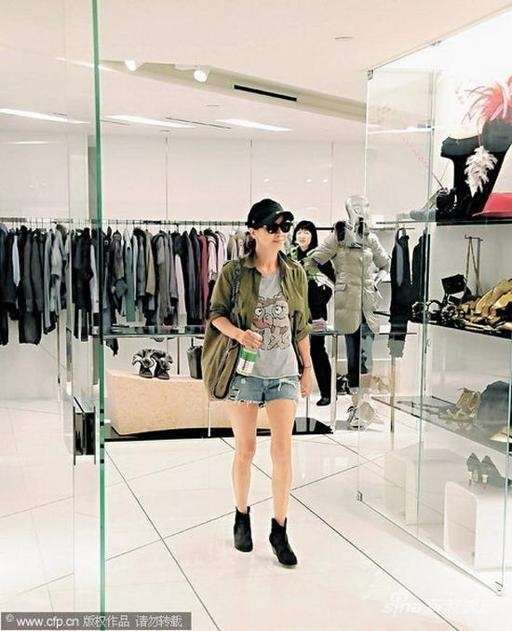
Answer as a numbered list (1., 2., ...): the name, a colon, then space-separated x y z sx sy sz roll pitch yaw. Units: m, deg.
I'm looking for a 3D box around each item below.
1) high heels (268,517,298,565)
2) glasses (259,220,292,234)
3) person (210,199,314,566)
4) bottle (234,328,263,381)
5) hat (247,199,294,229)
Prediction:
1. high heels: 0.090 0.948 2.207 0.069 0.156 0.199 3 -2 -18
2. glasses: 0.109 -0.359 2.191 0.088 0.055 0.171 2 2 41
3. person: 0.022 0.269 2.245 0.486 1.513 0.338 0 2 -8
4. bottle: -0.032 0.158 2.105 0.099 0.183 0.135 1 2 -3
5. hat: 0.059 -0.422 2.193 0.111 0.103 0.177 -16 -5 -37
